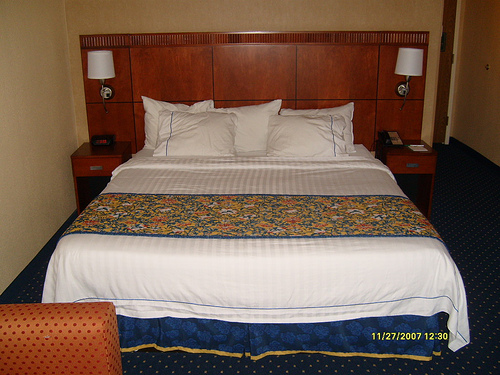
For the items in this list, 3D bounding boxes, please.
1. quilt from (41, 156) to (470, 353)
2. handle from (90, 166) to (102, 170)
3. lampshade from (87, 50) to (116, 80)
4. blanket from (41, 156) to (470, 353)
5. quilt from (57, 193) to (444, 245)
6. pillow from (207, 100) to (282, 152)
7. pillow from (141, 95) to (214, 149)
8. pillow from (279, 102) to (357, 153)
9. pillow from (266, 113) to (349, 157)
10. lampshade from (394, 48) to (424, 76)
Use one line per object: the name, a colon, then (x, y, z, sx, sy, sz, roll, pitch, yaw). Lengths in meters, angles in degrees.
quilt: (0.016, 0.428, 3.628, 3.099, 0.943, 1.916, -1, 23, 2)
handle: (-1.762, -0.225, 4.586, 0.096, 0.036, 0.004, -2, 6, 2)
lampshade: (-1.706, -1.398, 4.572, 0.303, 0.363, 0.325, -4, 29, -11)
blanket: (0.044, 0.417, 3.576, 2.114, 0.627, 1.809, -1, 29, 0)
quilt: (0.003, 0.243, 3.113, 1.348, 0.074, 0.742, 7, 12, 5)
pillow: (-0.059, -0.678, 4.565, 0.568, 0.434, 0.172, -5, -7, 4)
pillow: (-0.982, -0.843, 4.938, 0.738, 0.628, 0.468, 2, 18, -7)
pillow: (0.929, -0.819, 4.895, 0.949, 0.586, 0.470, 5, 18, 0)
pillow: (0.631, -0.536, 4.477, 0.741, 0.504, 0.238, -3, -23, 7)
lampshade: (1.790, -1.426, 4.620, 0.280, 0.334, 0.293, 8, 18, 11)
